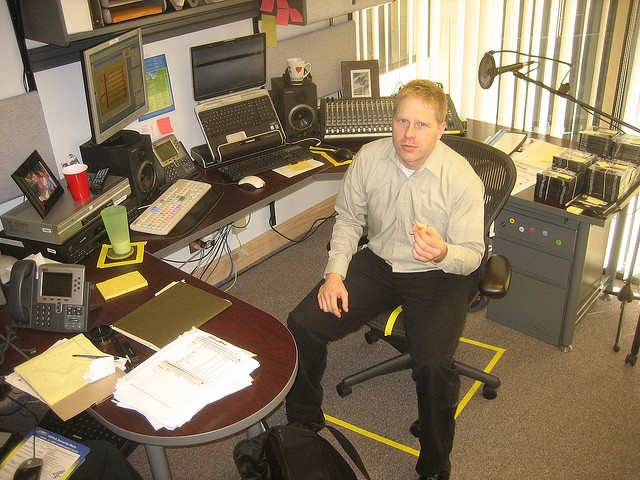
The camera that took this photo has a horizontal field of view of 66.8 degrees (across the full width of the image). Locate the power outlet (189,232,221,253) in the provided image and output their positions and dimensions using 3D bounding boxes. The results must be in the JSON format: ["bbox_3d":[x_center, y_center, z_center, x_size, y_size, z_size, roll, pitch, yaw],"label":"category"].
[{"bbox_3d":[-0.728,0.017,3.088,0.121,0.053,0.178,0,22,25],"label":"power outlet"}]

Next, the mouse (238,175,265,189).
[{"bbox_3d":[-0.350,-0.298,2.506,0.105,0.036,0.068,9,28,19],"label":"mouse"}]

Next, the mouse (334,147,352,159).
[{"bbox_3d":[0.138,-0.493,2.755,0.088,0.034,0.056,20,40,35],"label":"mouse"}]

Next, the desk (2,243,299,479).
[{"bbox_3d":[-0.593,0.535,1.787,1.010,0.480,0.698,17,35,28],"label":"desk"}]

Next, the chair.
[{"bbox_3d":[0.474,0.144,2.286,0.771,1.122,0.761,25,45,35],"label":"chair"}]

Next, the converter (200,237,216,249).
[{"bbox_3d":[-0.709,0.024,3.107,0.062,0.027,0.046,18,31,30],"label":"converter"}]

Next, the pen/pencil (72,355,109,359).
[{"bbox_3d":[-0.788,0.402,1.660,0.061,0.010,0.009,2,-6,0],"label":"pen/pencil"}]

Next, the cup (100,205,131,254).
[{"bbox_3d":[-0.889,-0.040,2.093,0.121,0.207,0.128,0,29,0],"label":"cup"}]

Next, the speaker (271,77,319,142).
[{"bbox_3d":[-0.162,-0.784,2.910,0.232,0.439,0.231,-17,28,-21],"label":"speaker"}]

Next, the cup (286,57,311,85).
[{"bbox_3d":[-0.126,-1.041,2.968,0.198,0.185,0.134,-8,26,-11],"label":"cup"}]

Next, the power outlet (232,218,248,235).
[{"bbox_3d":[-0.514,-0.087,3.079,0.047,0.089,0.053,-19,77,-12],"label":"power outlet"}]

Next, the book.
[{"bbox_3d":[-0.557,0.279,1.806,0.249,0.029,0.241,16,38,32],"label":"book"}]

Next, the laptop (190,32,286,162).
[{"bbox_3d":[-0.486,-0.800,2.762,0.531,0.548,0.364,-22,51,-26],"label":"laptop"}]

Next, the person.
[{"bbox_3d":[0.311,0.161,2.178,0.783,1.532,0.846,10,31,19],"label":"person"}]

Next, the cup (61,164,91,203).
[{"bbox_3d":[-1.062,-0.256,2.129,0.093,0.142,0.141,-15,33,-24],"label":"cup"}]

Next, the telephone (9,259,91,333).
[{"bbox_3d":[-0.999,0.219,1.785,0.203,0.182,0.121,4,25,5],"label":"telephone"}]
